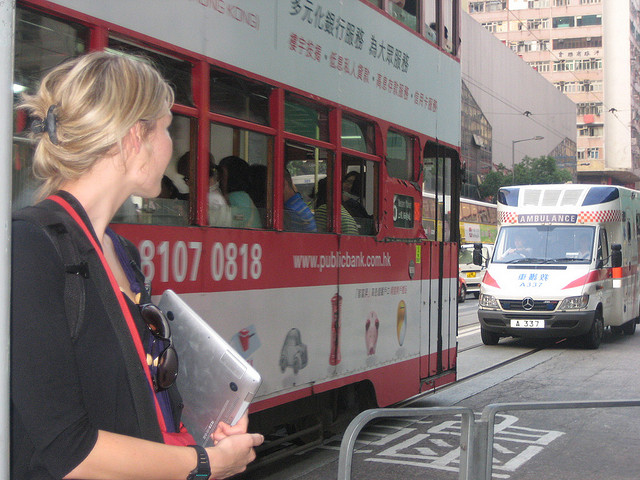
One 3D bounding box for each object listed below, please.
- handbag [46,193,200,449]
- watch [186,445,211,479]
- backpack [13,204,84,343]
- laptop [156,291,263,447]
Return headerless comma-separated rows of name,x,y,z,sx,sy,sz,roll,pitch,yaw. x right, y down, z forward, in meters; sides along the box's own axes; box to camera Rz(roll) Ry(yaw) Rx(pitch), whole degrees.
handbag,-0.564,0.199,2.089,0.522,0.705,0.408,0,6,-43
watch,-0.331,0.606,1.913,0.060,0.085,0.073,-1,3,9
backpack,-0.674,0.081,1.781,0.169,0.339,0.085,-1,3,12
laptop,-0.290,0.371,2.197,0.372,0.339,0.446,-1,6,-37
